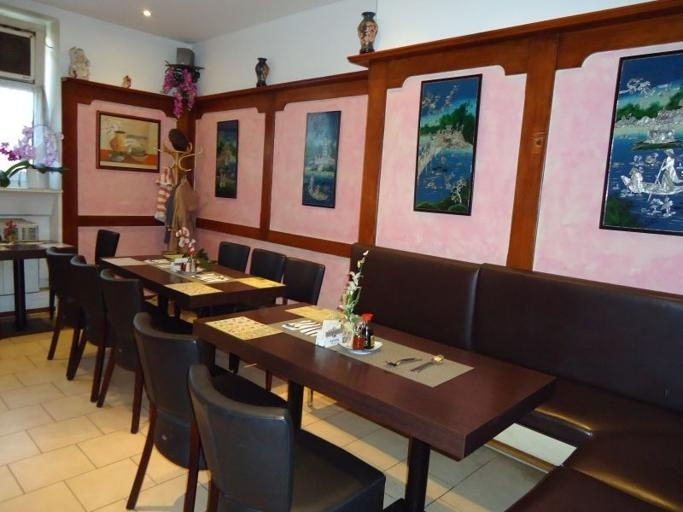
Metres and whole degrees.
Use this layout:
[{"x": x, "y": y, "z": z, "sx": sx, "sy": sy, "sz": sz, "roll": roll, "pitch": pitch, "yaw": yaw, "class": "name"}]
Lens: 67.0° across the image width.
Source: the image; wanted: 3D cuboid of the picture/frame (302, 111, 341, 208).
[{"x": -0.231, "y": -1.076, "z": 5.831, "sx": 0.524, "sy": 1.053, "sz": 0.083, "roll": 11, "pitch": 12, "yaw": 42, "class": "picture/frame"}]

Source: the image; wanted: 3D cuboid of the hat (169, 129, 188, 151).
[{"x": -2.200, "y": -1.559, "z": 7.001, "sx": 0.234, "sy": 0.285, "sz": 0.696, "roll": 0, "pitch": 9, "yaw": -17, "class": "hat"}]

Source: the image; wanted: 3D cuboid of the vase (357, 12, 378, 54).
[{"x": 0.259, "y": -2.148, "z": 4.995, "sx": 0.182, "sy": 0.412, "sz": 0.200, "roll": 3, "pitch": 9, "yaw": 2, "class": "vase"}]

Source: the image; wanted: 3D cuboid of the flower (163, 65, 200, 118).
[{"x": -2.246, "y": -2.285, "z": 7.299, "sx": 0.540, "sy": 0.675, "sz": 0.349, "roll": 6, "pitch": 15, "yaw": -1, "class": "flower"}]

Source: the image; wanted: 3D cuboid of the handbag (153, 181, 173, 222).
[{"x": -2.496, "y": -0.734, "z": 7.233, "sx": 0.220, "sy": 0.599, "sz": 0.502, "roll": -4, "pitch": 11, "yaw": -36, "class": "handbag"}]

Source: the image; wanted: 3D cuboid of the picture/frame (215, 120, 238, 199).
[{"x": -1.552, "y": -1.300, "z": 7.005, "sx": 0.127, "sy": 1.028, "sz": 0.508, "roll": -5, "pitch": 12, "yaw": -39, "class": "picture/frame"}]

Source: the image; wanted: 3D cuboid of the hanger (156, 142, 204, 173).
[{"x": -2.283, "y": -1.409, "z": 7.319, "sx": 0.465, "sy": 0.358, "sz": 0.571, "roll": -6, "pitch": 13, "yaw": -41, "class": "hanger"}]

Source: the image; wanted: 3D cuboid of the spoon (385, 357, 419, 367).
[{"x": 0.380, "y": 0.657, "z": 3.259, "sx": 0.248, "sy": 0.053, "sz": 0.067, "roll": -4, "pitch": 11, "yaw": -43, "class": "spoon"}]

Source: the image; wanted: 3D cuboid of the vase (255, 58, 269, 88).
[{"x": -0.969, "y": -2.235, "z": 6.319, "sx": 0.177, "sy": 0.364, "sz": 0.163, "roll": 2, "pitch": 9, "yaw": 0, "class": "vase"}]
